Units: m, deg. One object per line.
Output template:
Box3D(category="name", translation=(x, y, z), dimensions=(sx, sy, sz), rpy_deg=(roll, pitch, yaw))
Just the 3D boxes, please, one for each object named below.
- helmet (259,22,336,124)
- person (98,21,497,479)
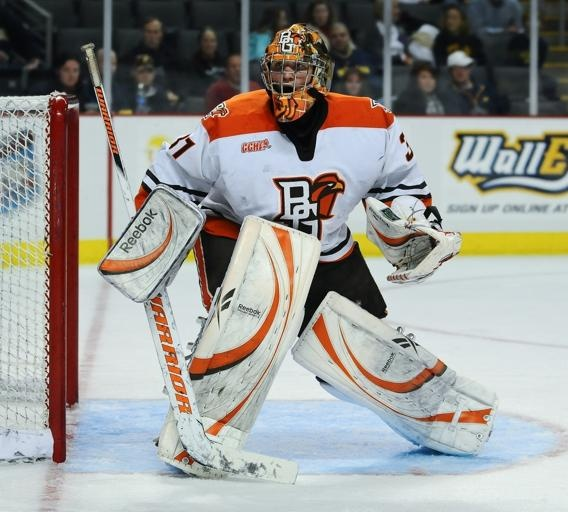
Box3D(category="helmet", translation=(0.068, -0.604, 2.912), dimensions=(0.290, 0.286, 0.329), rpy_deg=(6, 27, 12))
Box3D(category="person", translation=(-0.013, -0.006, 3.026), dimensions=(1.687, 1.415, 0.909), rpy_deg=(-1, 26, -28))
